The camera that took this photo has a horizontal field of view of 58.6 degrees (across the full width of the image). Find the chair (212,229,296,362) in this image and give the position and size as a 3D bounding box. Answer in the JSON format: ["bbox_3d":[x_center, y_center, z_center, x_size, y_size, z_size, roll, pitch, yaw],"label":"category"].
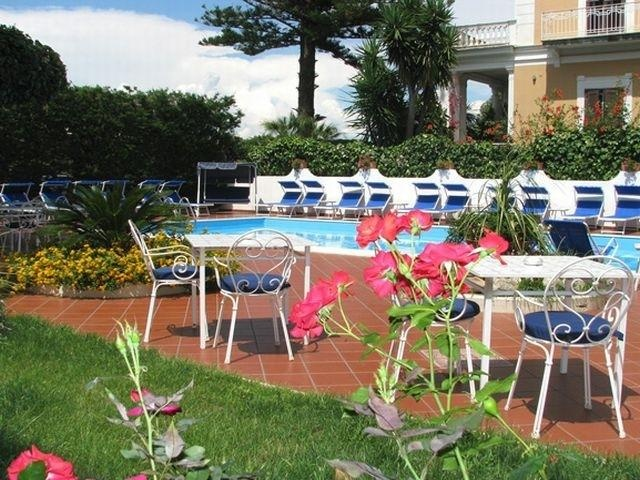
[{"bbox_3d":[-0.658,0.533,5.688,0.878,1.365,0.926,2,-3,-21],"label":"chair"}]

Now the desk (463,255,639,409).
[{"bbox_3d":[1.631,0.677,4.726,1.370,1.096,1.413,-2,10,-6],"label":"desk"}]

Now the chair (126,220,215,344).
[{"bbox_3d":[-1.625,0.455,6.240,0.812,1.247,0.772,-1,-1,-8],"label":"chair"}]
